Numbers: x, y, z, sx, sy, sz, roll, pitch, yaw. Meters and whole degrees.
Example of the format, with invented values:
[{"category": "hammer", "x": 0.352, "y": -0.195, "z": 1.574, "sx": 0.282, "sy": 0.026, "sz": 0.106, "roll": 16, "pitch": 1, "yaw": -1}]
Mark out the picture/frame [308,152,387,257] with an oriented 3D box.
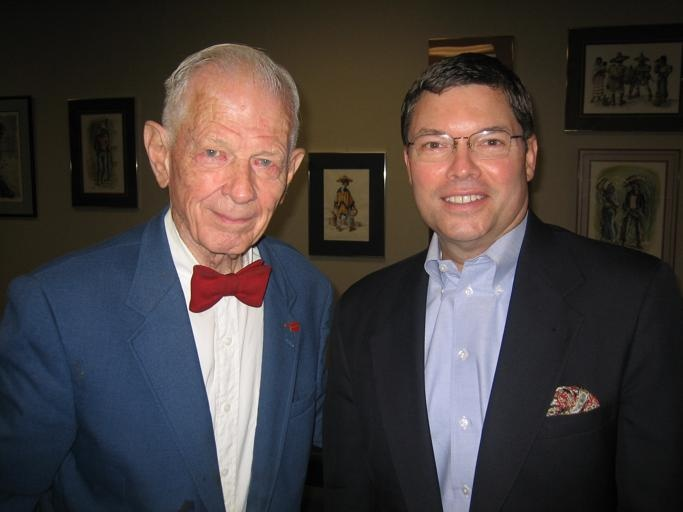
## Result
[{"category": "picture/frame", "x": 0.025, "y": -0.362, "z": 4.392, "sx": 0.566, "sy": 0.725, "sz": 0.012, "roll": -1, "pitch": 4, "yaw": -20}]
